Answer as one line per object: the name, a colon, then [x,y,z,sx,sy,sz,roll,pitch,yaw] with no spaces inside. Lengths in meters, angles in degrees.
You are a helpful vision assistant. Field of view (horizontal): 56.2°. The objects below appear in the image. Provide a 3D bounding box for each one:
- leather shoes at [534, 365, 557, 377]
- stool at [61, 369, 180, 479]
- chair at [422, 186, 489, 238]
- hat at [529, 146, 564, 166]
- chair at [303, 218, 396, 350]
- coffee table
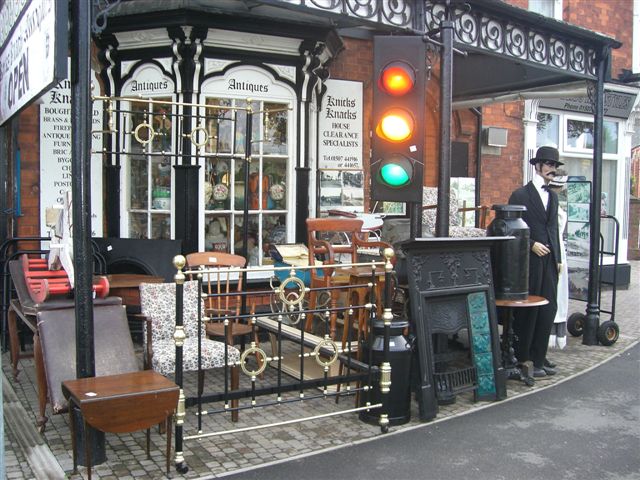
leather shoes: [2.618,1.526,6.980,0.252,0.117,0.079,-9,9,-24]
stool: [-1.584,1.493,4.794,0.856,0.762,0.527,-3,2,-26]
chair: [2.061,-0.461,9.362,0.861,0.789,4.179,-1,2,12]
hat: [2.724,-0.992,7.245,0.256,0.168,0.301,2,-4,-7]
chair: [0.496,0.415,6.708,1.014,1.395,0.989,18,11,24]
coffee table: [-0.115,1.164,6.164,0.934,0.804,1.762,-2,2,-12]
